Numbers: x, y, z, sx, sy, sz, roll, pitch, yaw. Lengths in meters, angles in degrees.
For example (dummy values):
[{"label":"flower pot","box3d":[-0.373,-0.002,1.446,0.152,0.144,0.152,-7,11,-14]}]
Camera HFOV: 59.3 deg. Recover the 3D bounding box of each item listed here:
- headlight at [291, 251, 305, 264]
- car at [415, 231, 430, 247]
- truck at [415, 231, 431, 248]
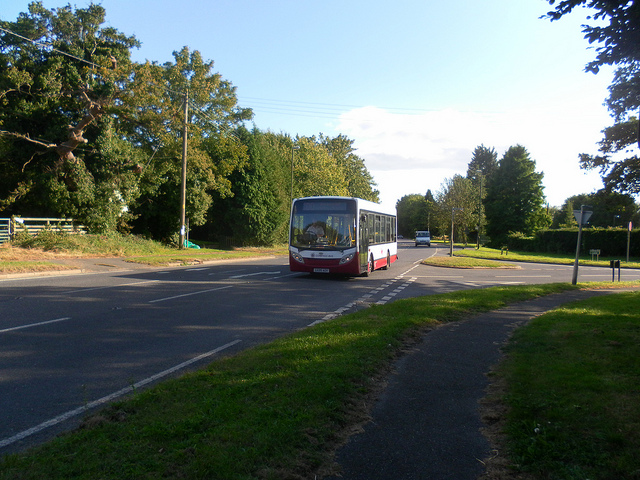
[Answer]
[{"label":"headlight","box3d":[-0.882,0.683,21.821,0.567,0.373,0.070,3,6,30]},{"label":"car","box3d":[13.529,-0.145,73.980,1.376,1.484,2.635,1,2,3]},{"label":"truck","box3d":[13.569,-0.172,73.935,1.381,1.508,2.688,-1,-6,8]}]
